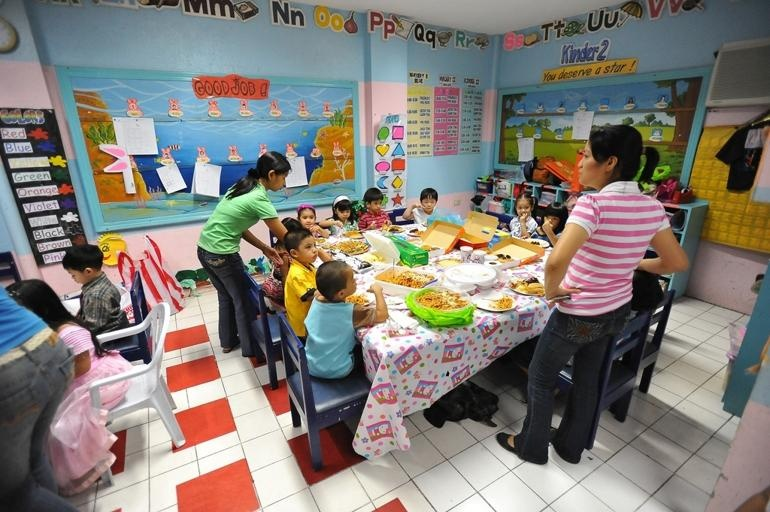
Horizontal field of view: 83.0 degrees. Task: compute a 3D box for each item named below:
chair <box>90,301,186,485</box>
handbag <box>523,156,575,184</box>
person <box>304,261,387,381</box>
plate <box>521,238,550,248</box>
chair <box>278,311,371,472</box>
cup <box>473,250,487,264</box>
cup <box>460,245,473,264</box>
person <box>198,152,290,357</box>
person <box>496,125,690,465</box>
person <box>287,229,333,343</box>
[{"bbox_3d":[-1.861,1.052,3.229,0.766,1.072,0.798,-9,34,-31],"label":"chair"},{"bbox_3d":[2.136,-1.115,5.688,0.439,0.140,0.425,-17,38,-17],"label":"handbag"},{"bbox_3d":[-0.311,0.472,3.217,0.590,0.877,0.550,-7,21,-12],"label":"person"},{"bbox_3d":[1.428,-0.125,4.065,0.163,0.037,0.158,-4,11,-8],"label":"plate"},{"bbox_3d":[-0.311,0.976,3.199,0.708,0.804,0.615,-11,4,-31],"label":"chair"},{"bbox_3d":[0.776,0.007,3.612,0.103,0.099,0.099,1,32,-1],"label":"cup"},{"bbox_3d":[0.671,-0.011,3.615,0.128,0.122,0.106,-4,25,-13],"label":"cup"},{"bbox_3d":[-1.177,0.020,4.035,1.130,1.778,0.658,-2,18,-25],"label":"person"},{"bbox_3d":[1.337,0.343,2.922,1.040,2.325,0.416,-11,23,-21],"label":"person"},{"bbox_3d":[-0.573,0.249,3.200,0.347,0.988,0.413,-4,35,-9],"label":"person"}]
